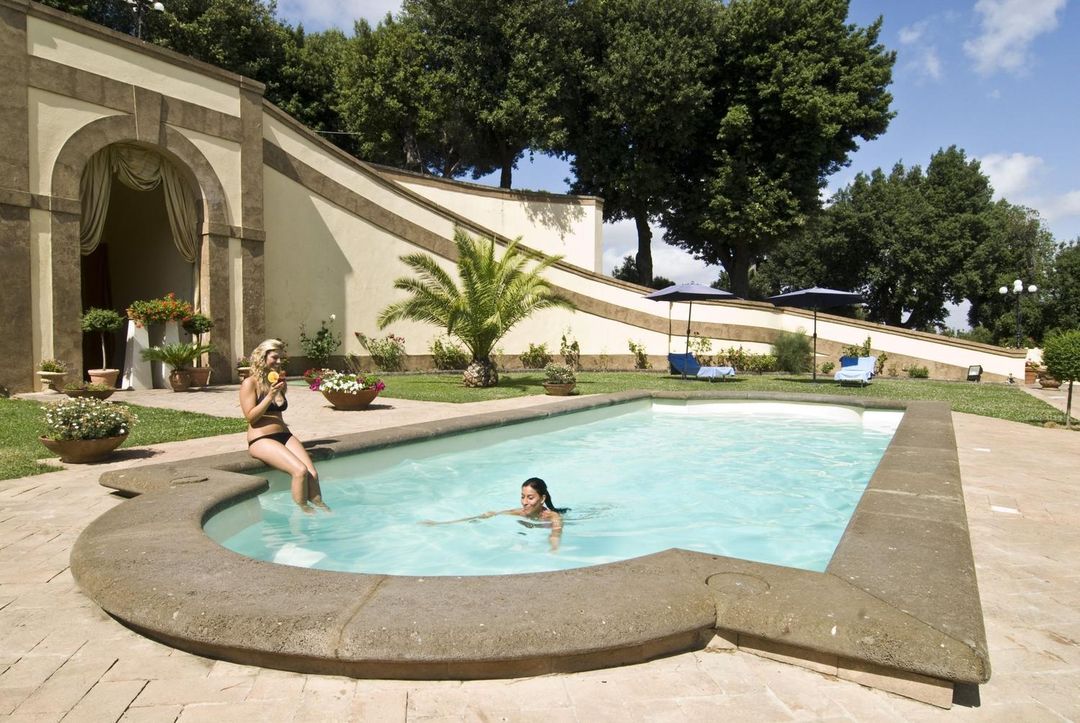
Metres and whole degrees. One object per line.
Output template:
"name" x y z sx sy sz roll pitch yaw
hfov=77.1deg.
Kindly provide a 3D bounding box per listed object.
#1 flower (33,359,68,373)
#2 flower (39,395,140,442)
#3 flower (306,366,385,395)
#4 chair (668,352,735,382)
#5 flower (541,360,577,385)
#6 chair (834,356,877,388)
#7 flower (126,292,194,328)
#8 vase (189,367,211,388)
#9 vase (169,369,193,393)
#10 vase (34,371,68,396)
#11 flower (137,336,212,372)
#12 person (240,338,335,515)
"flower" -10.075 0.103 14.043 0.357 0.221 0.360 1 -3 -19
"flower" -5.766 0.745 8.788 0.677 0.396 0.718 1 -4 1
"flower" -3.896 0.402 13.138 0.963 0.399 0.972 1 -2 18
"chair" 4.946 0.145 21.241 1.754 0.836 2.589 -1 0 4
"flower" 0.474 0.294 16.009 0.657 0.449 0.664 -2 2 21
"chair" 9.274 0.273 19.806 0.996 0.800 1.657 -2 1 37
"flower" -9.079 -1.203 16.282 1.252 0.525 1.223 -1 3 -22
"vase" -8.140 0.377 16.208 0.427 0.322 0.427 0 -5 2
"vase" -8.114 0.439 15.507 0.504 0.527 0.507 -1 0 31
"vase" -10.142 0.445 14.072 0.487 0.325 0.490 -1 -6 11
"flower" -8.283 -0.154 15.495 0.973 0.501 0.953 2 -4 -22
"person" -3.127 0.737 8.188 0.843 2.002 0.994 -2 2 -26
